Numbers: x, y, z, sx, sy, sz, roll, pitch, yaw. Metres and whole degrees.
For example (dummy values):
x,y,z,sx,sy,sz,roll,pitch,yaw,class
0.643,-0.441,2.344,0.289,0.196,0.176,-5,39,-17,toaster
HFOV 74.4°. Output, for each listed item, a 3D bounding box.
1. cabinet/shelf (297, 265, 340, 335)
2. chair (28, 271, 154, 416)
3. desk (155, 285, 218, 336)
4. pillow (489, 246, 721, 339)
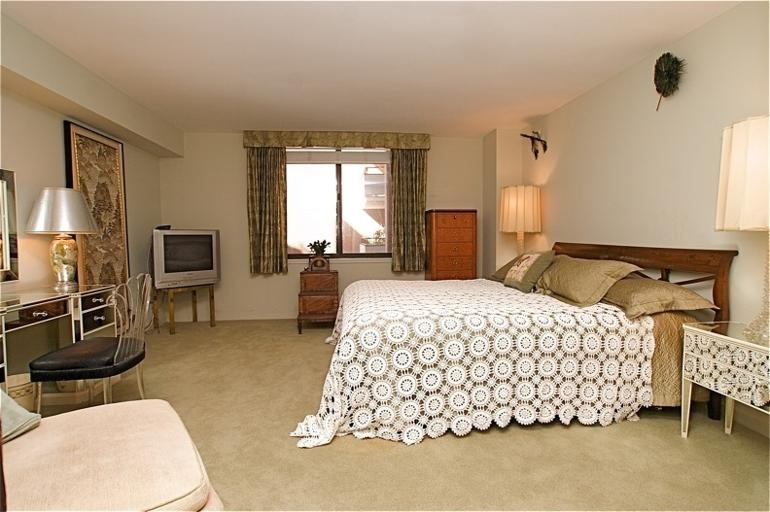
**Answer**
x,y,z,sx,sy,sz,roll,pitch,yaw,class
-0.878,0.582,6.674,0.515,0.720,0.518,-2,9,-3,cabinet/shelf
-2.641,0.707,4.568,0.906,1.147,1.551,-7,10,-30,chair
-2.680,0.641,6.865,0.852,0.611,0.812,-7,11,-34,desk
2.091,0.202,4.785,0.983,0.622,1.721,-5,9,-25,pillow
